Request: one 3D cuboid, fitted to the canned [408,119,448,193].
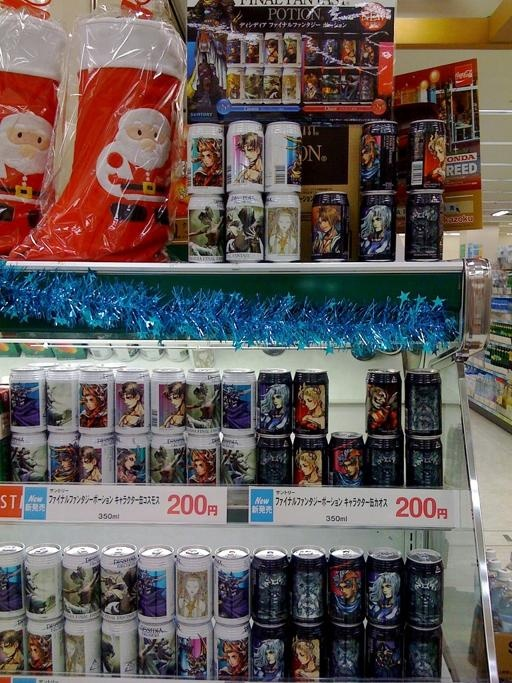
[{"bbox_3d":[0.298,-0.325,0.965,0.062,0.120,0.047,-1,9,14],"label":"canned"}]

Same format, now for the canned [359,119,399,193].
[{"bbox_3d":[0.216,-0.327,0.979,0.065,0.122,0.040,-1,9,14],"label":"canned"}]

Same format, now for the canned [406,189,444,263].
[{"bbox_3d":[0.290,-0.202,0.955,0.059,0.120,0.041,-2,9,12],"label":"canned"}]

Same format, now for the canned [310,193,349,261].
[{"bbox_3d":[0.132,-0.204,0.984,0.067,0.119,0.096,-2,10,9],"label":"canned"}]

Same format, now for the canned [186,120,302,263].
[{"bbox_3d":[0.010,-0.257,0.951,0.138,0.241,0.087,-3,9,3],"label":"canned"}]
